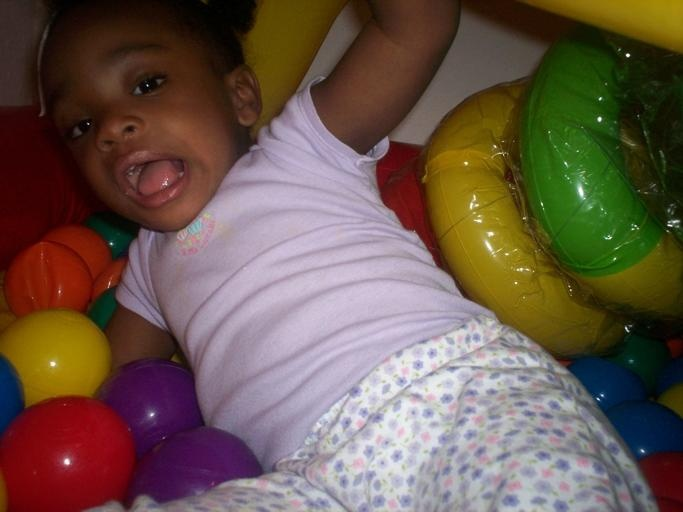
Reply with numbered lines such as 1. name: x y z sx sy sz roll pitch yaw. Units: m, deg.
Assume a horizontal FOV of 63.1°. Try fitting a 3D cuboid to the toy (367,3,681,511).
1. toy: 0.457 -0.093 1.115 0.717 0.203 0.754 -30 74 -39
